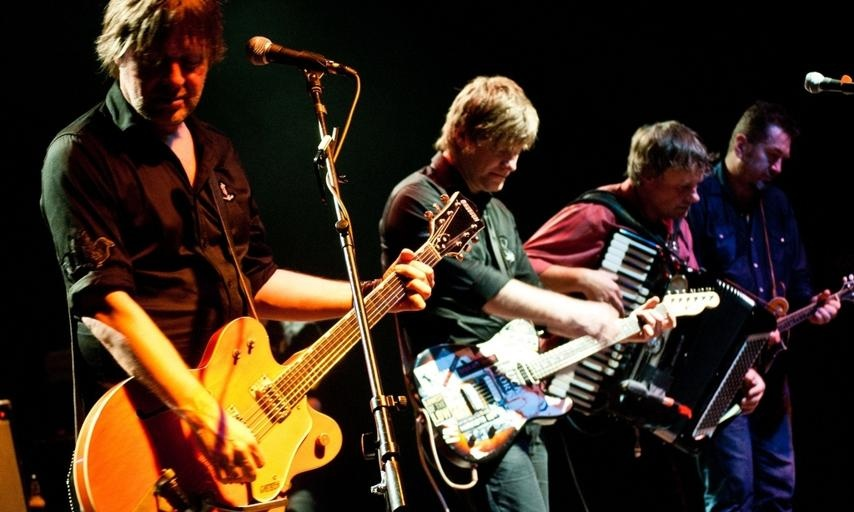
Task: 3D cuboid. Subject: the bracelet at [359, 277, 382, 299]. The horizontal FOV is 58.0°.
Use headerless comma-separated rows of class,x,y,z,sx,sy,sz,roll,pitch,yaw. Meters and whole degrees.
bracelet,-0.329,0.184,4.432,0.139,0.037,0.058,-4,37,35
